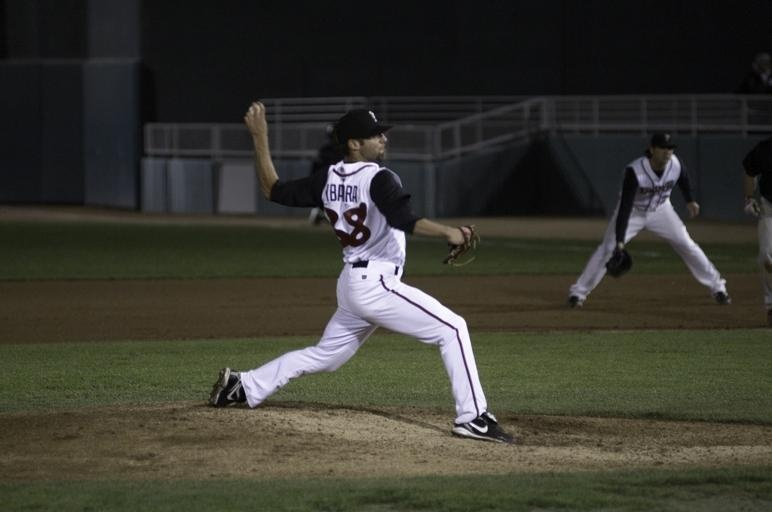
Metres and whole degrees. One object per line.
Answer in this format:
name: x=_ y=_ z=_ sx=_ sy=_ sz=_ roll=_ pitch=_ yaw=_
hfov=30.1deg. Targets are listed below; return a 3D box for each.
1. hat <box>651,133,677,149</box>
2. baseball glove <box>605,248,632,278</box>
hat: x=5.088 y=-2.157 z=26.685 sx=0.317 sy=0.214 sz=0.425 roll=-3 pitch=4 yaw=-24
baseball glove: x=4.359 y=0.117 z=27.119 sx=0.450 sy=0.573 sz=0.657 roll=0 pitch=2 yaw=8
